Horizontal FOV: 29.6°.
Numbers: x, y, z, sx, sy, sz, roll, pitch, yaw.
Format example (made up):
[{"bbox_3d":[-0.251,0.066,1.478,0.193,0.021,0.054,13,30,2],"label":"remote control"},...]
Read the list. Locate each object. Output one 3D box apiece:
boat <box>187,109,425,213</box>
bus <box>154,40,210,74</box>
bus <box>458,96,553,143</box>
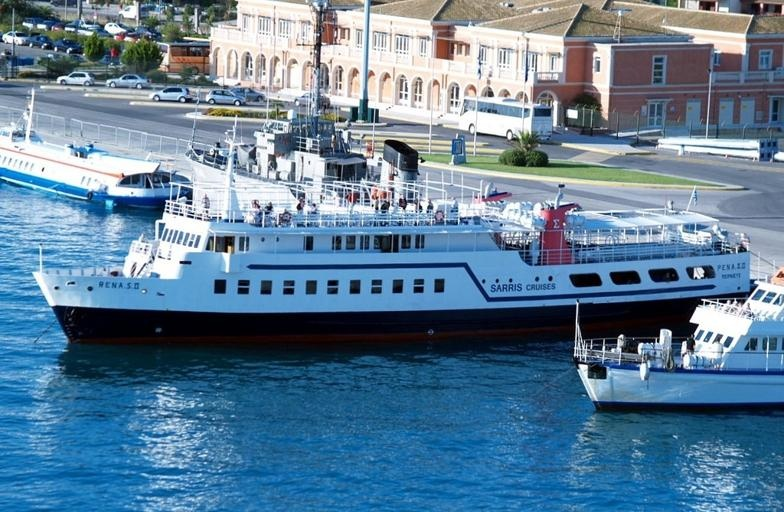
[{"bbox_3d":[-6.304,-6.003,94.054,20.347,5.927,5.574,7,19,25],"label":"boat"},{"bbox_3d":[-23.171,-21.298,164.575,5.748,2.136,5.041,-2,12,-15],"label":"bus"},{"bbox_3d":[9.881,-12.234,130.389,9.793,2.881,3.402,17,16,40],"label":"bus"}]
